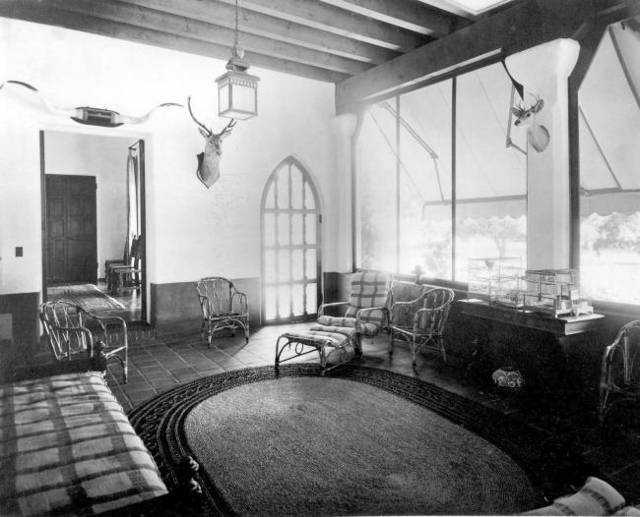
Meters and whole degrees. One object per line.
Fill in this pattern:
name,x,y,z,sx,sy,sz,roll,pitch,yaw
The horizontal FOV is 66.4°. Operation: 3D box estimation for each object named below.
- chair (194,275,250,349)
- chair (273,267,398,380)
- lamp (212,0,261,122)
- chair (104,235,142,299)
chair,-1.404,0.753,7.252,0.790,1.337,0.879,-2,3,-30
chair,0.181,0.798,6.503,0.948,1.182,1.525,0,1,39
lamp,-0.861,-1.853,5.114,0.437,0.750,0.272,-2,8,-13
chair,-4.258,0.210,10.527,0.476,1.079,1.222,0,1,-24
